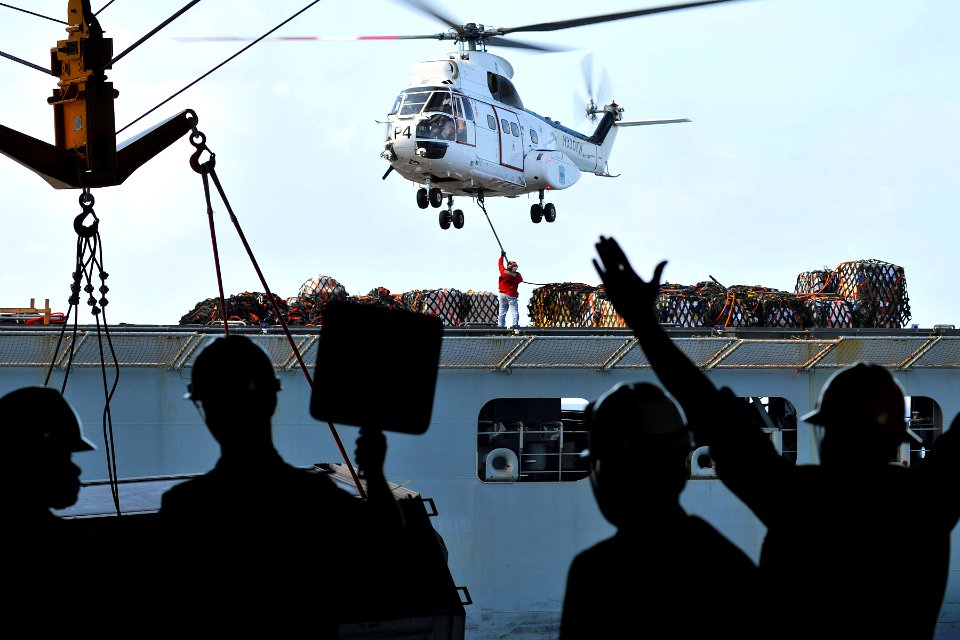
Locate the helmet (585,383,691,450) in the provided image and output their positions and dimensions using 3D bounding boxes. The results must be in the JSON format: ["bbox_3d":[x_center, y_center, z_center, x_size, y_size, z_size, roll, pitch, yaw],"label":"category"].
[{"bbox_3d":[1.109,0.695,12.276,0.471,0.465,0.631,0,-20,-6],"label":"helmet"}]
